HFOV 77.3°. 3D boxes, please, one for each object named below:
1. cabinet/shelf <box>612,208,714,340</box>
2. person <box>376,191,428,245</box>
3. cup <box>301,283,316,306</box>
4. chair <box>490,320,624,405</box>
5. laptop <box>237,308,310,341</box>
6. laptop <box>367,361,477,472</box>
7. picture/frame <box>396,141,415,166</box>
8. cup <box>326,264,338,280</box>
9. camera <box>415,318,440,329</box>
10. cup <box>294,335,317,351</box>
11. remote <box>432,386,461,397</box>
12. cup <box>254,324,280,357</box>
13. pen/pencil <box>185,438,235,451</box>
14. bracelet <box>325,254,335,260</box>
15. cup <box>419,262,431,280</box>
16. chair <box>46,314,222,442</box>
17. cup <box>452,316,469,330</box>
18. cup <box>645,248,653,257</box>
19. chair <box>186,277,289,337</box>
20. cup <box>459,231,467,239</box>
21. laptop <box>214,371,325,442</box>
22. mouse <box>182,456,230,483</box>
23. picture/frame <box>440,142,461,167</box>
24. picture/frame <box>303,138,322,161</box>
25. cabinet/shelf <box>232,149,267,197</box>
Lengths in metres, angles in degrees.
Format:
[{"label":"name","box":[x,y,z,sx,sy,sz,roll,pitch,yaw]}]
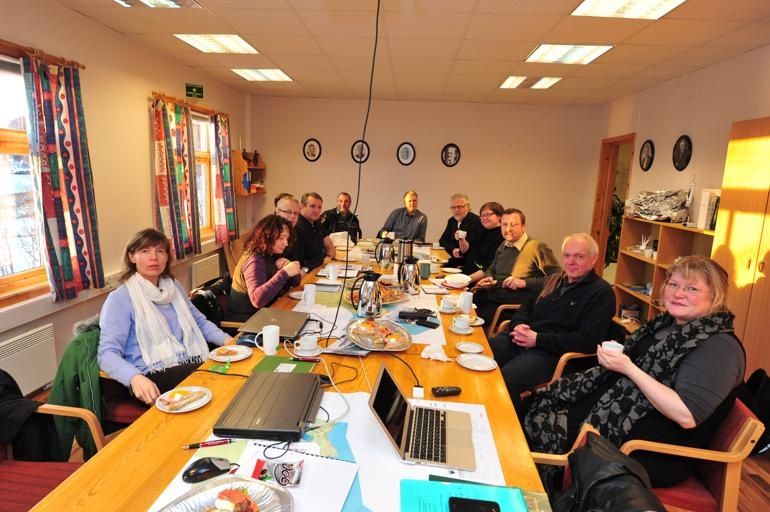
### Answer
[{"label":"cabinet/shelf","box":[2.565,0.111,4.445,0.358,1.324,1.346,1,9,-7]},{"label":"person","box":[0.275,-0.540,6.510,0.556,0.657,0.896,2,12,2]},{"label":"cup","box":[-0.573,0.297,3.647,0.097,0.142,0.151,7,14,17]},{"label":"chair","box":[1.214,0.661,3.723,0.797,0.678,0.621,13,17,-10]},{"label":"laptop","box":[-0.714,0.446,3.228,0.255,0.050,0.249,4,20,7]},{"label":"laptop","box":[0.182,0.809,2.413,0.479,0.283,0.464,3,24,2]},{"label":"picture/frame","box":[0.356,-1.747,8.104,0.379,0.411,0.043,2,11,-4]},{"label":"cup","box":[-0.471,0.153,4.339,0.092,0.136,0.139,0,-2,-6]},{"label":"camera","box":[0.303,0.476,3.409,0.132,0.021,0.075,8,15,19]},{"label":"cup","box":[-0.496,0.531,2.973,0.120,0.081,0.089,-3,8,-7]},{"label":"remote","box":[0.350,0.754,2.694,0.126,0.030,0.063,-1,11,-5]},{"label":"cup","box":[-0.762,0.514,2.983,0.194,0.188,0.115,-9,18,-32]},{"label":"pen/pencil","box":[-0.852,0.922,2.350,0.214,0.022,0.023,-3,37,-12]},{"label":"bracelet","box":[-0.609,0.015,5.383,0.064,0.059,0.059,1,-2,-11]},{"label":"cup","box":[0.378,0.141,4.544,0.161,0.154,0.122,-1,15,-3]},{"label":"chair","box":[-1.847,0.985,3.403,0.820,0.952,0.793,18,17,7]},{"label":"cup","box":[0.531,0.465,3.350,0.096,0.062,0.070,-2,6,-1]},{"label":"cup","box":[3.097,-0.034,5.650,0.076,0.059,0.079,1,-1,0]},{"label":"chair","box":[-1.215,0.368,3.909,0.536,0.603,0.482,2,18,17]},{"label":"cup","box":[0.890,-0.244,5.537,0.083,0.060,0.047,11,46,7]},{"label":"laptop","box":[-0.597,0.773,2.491,0.311,0.067,0.331,1,20,5]},{"label":"mouse","box":[-0.829,0.983,2.226,0.177,0.061,0.101,-10,17,-33]},{"label":"picture/frame","box":[1.108,-1.723,8.072,0.367,0.405,0.052,3,16,-2]},{"label":"picture/frame","box":[-1.232,-1.828,8.190,0.349,0.384,0.054,4,14,-4]},{"label":"cabinet/shelf","box":[-2.229,-1.371,7.851,0.312,0.795,0.839,0,10,5]}]
